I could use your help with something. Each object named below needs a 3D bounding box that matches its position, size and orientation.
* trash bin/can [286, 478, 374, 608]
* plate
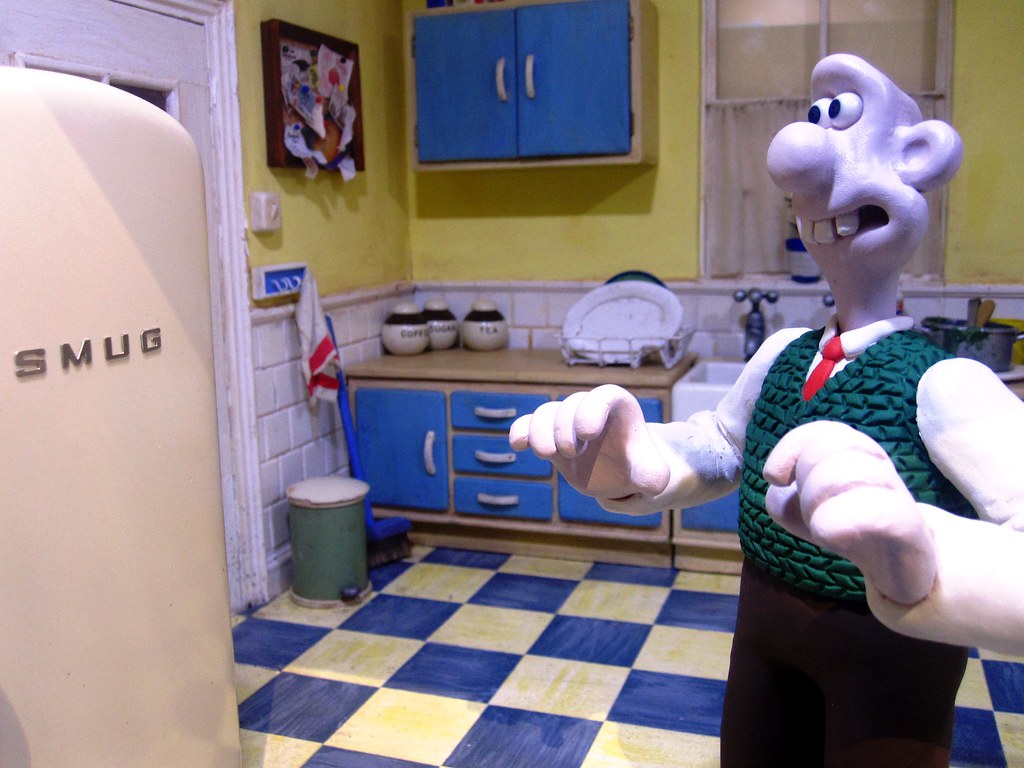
[{"bbox_3d":[-0.629,0.512,3.284,0.346,0.454,0.338,-7,11,-37],"label":"trash bin/can"},{"bbox_3d":[0.432,-0.223,3.537,0.327,0.090,0.386,0,59,18],"label":"plate"}]
